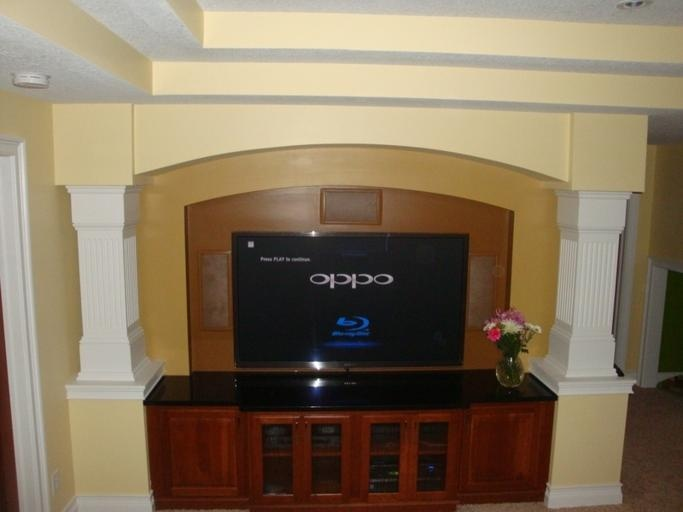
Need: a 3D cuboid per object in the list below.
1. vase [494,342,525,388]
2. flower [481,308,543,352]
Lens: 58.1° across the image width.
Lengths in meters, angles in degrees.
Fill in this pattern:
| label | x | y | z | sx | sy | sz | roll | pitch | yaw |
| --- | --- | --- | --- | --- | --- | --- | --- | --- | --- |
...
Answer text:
| label | x | y | z | sx | sy | sz | roll | pitch | yaw |
| --- | --- | --- | --- | --- | --- | --- | --- | --- | --- |
| vase | 1.425 | 0.960 | 5.184 | 0.282 | 0.383 | 0.275 | 5 | -9 | -35 |
| flower | 1.383 | 0.632 | 5.112 | 0.470 | 0.391 | 0.421 | -9 | 3 | -31 |
